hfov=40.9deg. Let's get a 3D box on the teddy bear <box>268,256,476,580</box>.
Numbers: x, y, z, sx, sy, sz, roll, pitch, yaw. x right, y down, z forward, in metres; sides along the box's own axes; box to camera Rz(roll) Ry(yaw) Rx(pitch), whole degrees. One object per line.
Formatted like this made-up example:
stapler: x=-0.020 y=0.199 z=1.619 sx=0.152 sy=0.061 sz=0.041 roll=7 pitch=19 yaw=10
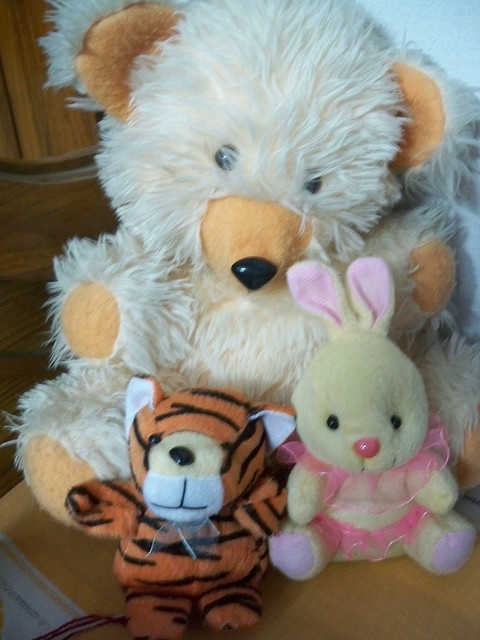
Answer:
teddy bear: x=0.131 y=0.103 z=0.615 sx=0.193 sy=0.279 sz=0.201 roll=3 pitch=40 yaw=-3
